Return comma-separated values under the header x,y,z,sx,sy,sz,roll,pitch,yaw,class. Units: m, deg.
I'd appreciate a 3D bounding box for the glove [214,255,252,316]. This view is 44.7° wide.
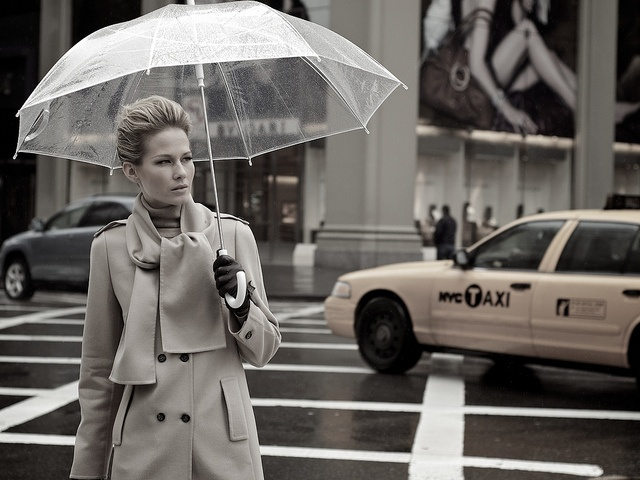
x,y,z,sx,sy,sz,roll,pitch,yaw,class
-0.401,0.218,3.541,0.070,0.261,0.184,-13,-2,-8,glove
